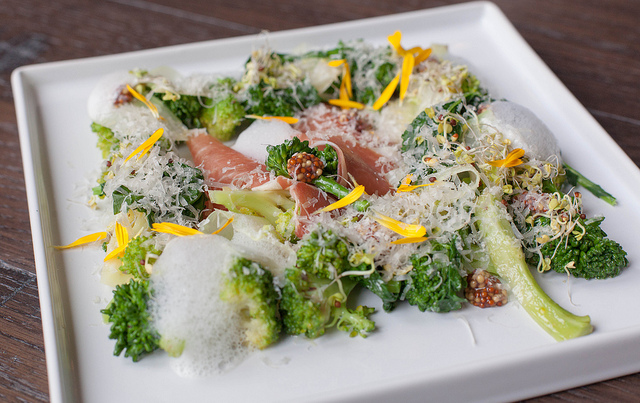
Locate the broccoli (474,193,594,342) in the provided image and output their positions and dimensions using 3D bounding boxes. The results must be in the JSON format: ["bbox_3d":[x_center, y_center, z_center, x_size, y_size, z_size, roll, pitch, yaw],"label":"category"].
[{"bbox_3d":[0.777,0.242,2.027,0.247,0.189,0.615,-21,63,0],"label":"broccoli"}]

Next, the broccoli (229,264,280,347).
[{"bbox_3d":[-0.220,0.356,1.822,0.076,0.252,0.250,-17,86,0],"label":"broccoli"}]

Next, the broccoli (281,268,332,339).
[{"bbox_3d":[-0.059,0.359,1.836,0.191,0.118,0.236,-2,85,7],"label":"broccoli"}]

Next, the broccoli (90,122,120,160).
[{"bbox_3d":[-0.982,-0.281,2.308,0.162,0.094,0.061,-15,85,-6],"label":"broccoli"}]

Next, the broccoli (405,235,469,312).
[{"bbox_3d":[0.397,0.271,1.946,0.252,0.104,0.238,-24,99,-26],"label":"broccoli"}]

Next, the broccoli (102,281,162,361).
[{"bbox_3d":[-0.653,0.422,1.852,0.260,0.285,0.209,16,66,-25],"label":"broccoli"}]

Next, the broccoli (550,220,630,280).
[{"bbox_3d":[1.024,0.220,2.035,0.246,0.117,0.242,-33,82,-9],"label":"broccoli"}]

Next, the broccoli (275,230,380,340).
[{"bbox_3d":[0.009,0.277,1.926,0.419,0.228,0.326,-13,113,-22],"label":"broccoli"}]

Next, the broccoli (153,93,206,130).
[{"bbox_3d":[-0.647,-0.399,2.345,0.083,0.178,0.154,-48,38,16],"label":"broccoli"}]

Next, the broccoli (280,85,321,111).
[{"bbox_3d":[-0.123,-0.505,2.572,0.200,0.266,0.092,-4,96,10],"label":"broccoli"}]

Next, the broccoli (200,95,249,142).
[{"bbox_3d":[-0.441,-0.409,2.388,0.215,0.099,0.216,29,105,-8],"label":"broccoli"}]

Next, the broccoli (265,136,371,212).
[{"bbox_3d":[-0.028,-0.100,2.027,0.379,0.218,0.078,30,44,-19],"label":"broccoli"}]

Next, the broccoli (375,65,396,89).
[{"bbox_3d":[0.324,-0.606,2.480,0.093,0.024,0.090,-24,99,-2],"label":"broccoli"}]

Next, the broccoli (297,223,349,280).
[{"bbox_3d":[-0.007,0.199,1.909,0.177,0.206,0.108,-11,77,6],"label":"broccoli"}]

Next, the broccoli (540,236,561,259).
[{"bbox_3d":[0.889,0.180,1.996,0.087,0.024,0.058,-40,84,16],"label":"broccoli"}]
